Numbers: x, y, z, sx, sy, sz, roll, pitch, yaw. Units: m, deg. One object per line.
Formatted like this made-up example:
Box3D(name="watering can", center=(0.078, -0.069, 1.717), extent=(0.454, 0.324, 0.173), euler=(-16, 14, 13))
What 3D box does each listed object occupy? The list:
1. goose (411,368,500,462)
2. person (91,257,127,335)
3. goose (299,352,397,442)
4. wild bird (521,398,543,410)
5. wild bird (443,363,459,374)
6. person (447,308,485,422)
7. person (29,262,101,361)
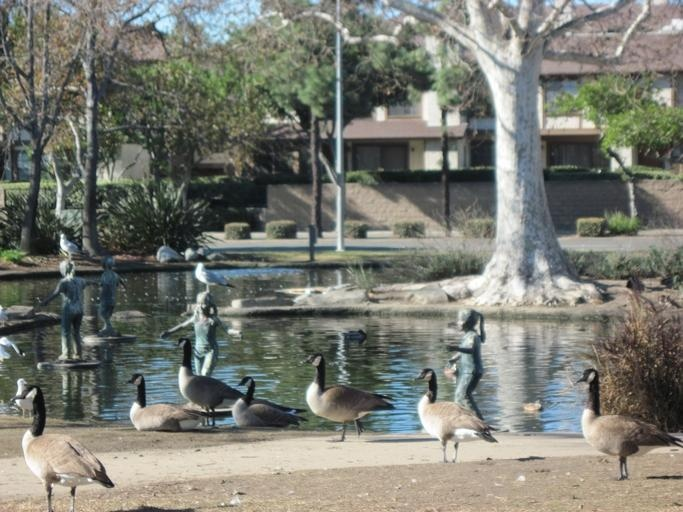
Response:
Box3D(name="goose", center=(2.830, 4.088, 46.206), extent=(2.413, 2.435, 0.916), euler=(0, -7, 37))
Box3D(name="person", center=(-6.901, 1.202, 54.478), extent=(0.640, 2.417, 0.730), euler=(0, 0, 36))
Box3D(name="goose", center=(0.229, 3.606, 47.443), extent=(2.181, 2.413, 1.313), euler=(-1, -3, -3))
Box3D(name="wild bird", center=(5.112, 3.924, 48.962), extent=(0.351, 0.302, 0.272), euler=(0, 2, 12))
Box3D(name="wild bird", center=(3.008, 3.055, 50.168), extent=(0.333, 0.205, 0.496), euler=(-4, -1, 1))
Box3D(name="person", center=(3.311, 2.924, 48.217), extent=(0.839, 3.078, 1.254), euler=(-1, -7, 9))
Box3D(name="person", center=(-7.744, 1.581, 52.491), extent=(1.135, 3.271, 0.931), euler=(0, 0, 32))
